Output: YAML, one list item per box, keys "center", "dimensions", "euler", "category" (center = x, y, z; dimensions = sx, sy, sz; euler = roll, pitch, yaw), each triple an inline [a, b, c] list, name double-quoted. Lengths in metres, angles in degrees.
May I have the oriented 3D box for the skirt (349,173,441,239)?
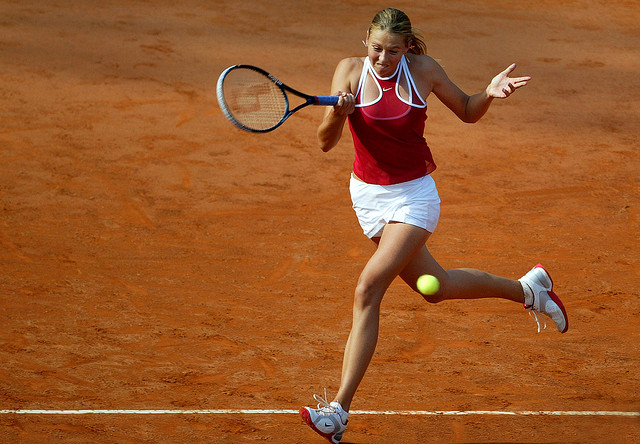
- center: [0.796, -0.240, 10.876]
  dimensions: [0.758, 0.718, 1.132]
  euler: [11, 20, 17]
  category: "skirt"

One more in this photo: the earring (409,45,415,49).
- center: [0.945, -1.838, 10.656]
  dimensions: [0.038, 0.040, 0.010]
  euler: [6, 12, -22]
  category: "earring"

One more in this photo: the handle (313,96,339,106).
- center: [0.045, -1.261, 10.515]
  dimensions: [0.212, 0.116, 0.225]
  euler: [6, 9, -12]
  category: "handle"

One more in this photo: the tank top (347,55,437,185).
- center: [0.640, -1.081, 10.792]
  dimensions: [1.128, 1.238, 0.823]
  euler: [-2, 13, 2]
  category: "tank top"
